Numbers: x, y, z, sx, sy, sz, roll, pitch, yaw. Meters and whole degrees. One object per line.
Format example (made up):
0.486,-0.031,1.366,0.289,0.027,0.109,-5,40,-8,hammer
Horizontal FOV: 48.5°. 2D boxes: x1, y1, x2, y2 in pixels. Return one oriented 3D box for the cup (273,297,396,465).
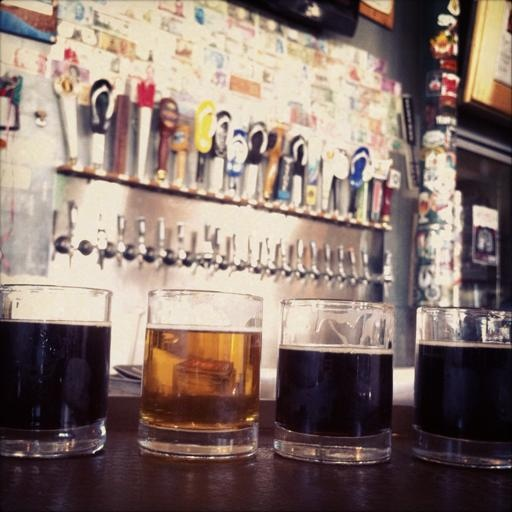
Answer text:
0.113,0.191,0.891,0.174,0.253,0.205,2,-7,0,cup
